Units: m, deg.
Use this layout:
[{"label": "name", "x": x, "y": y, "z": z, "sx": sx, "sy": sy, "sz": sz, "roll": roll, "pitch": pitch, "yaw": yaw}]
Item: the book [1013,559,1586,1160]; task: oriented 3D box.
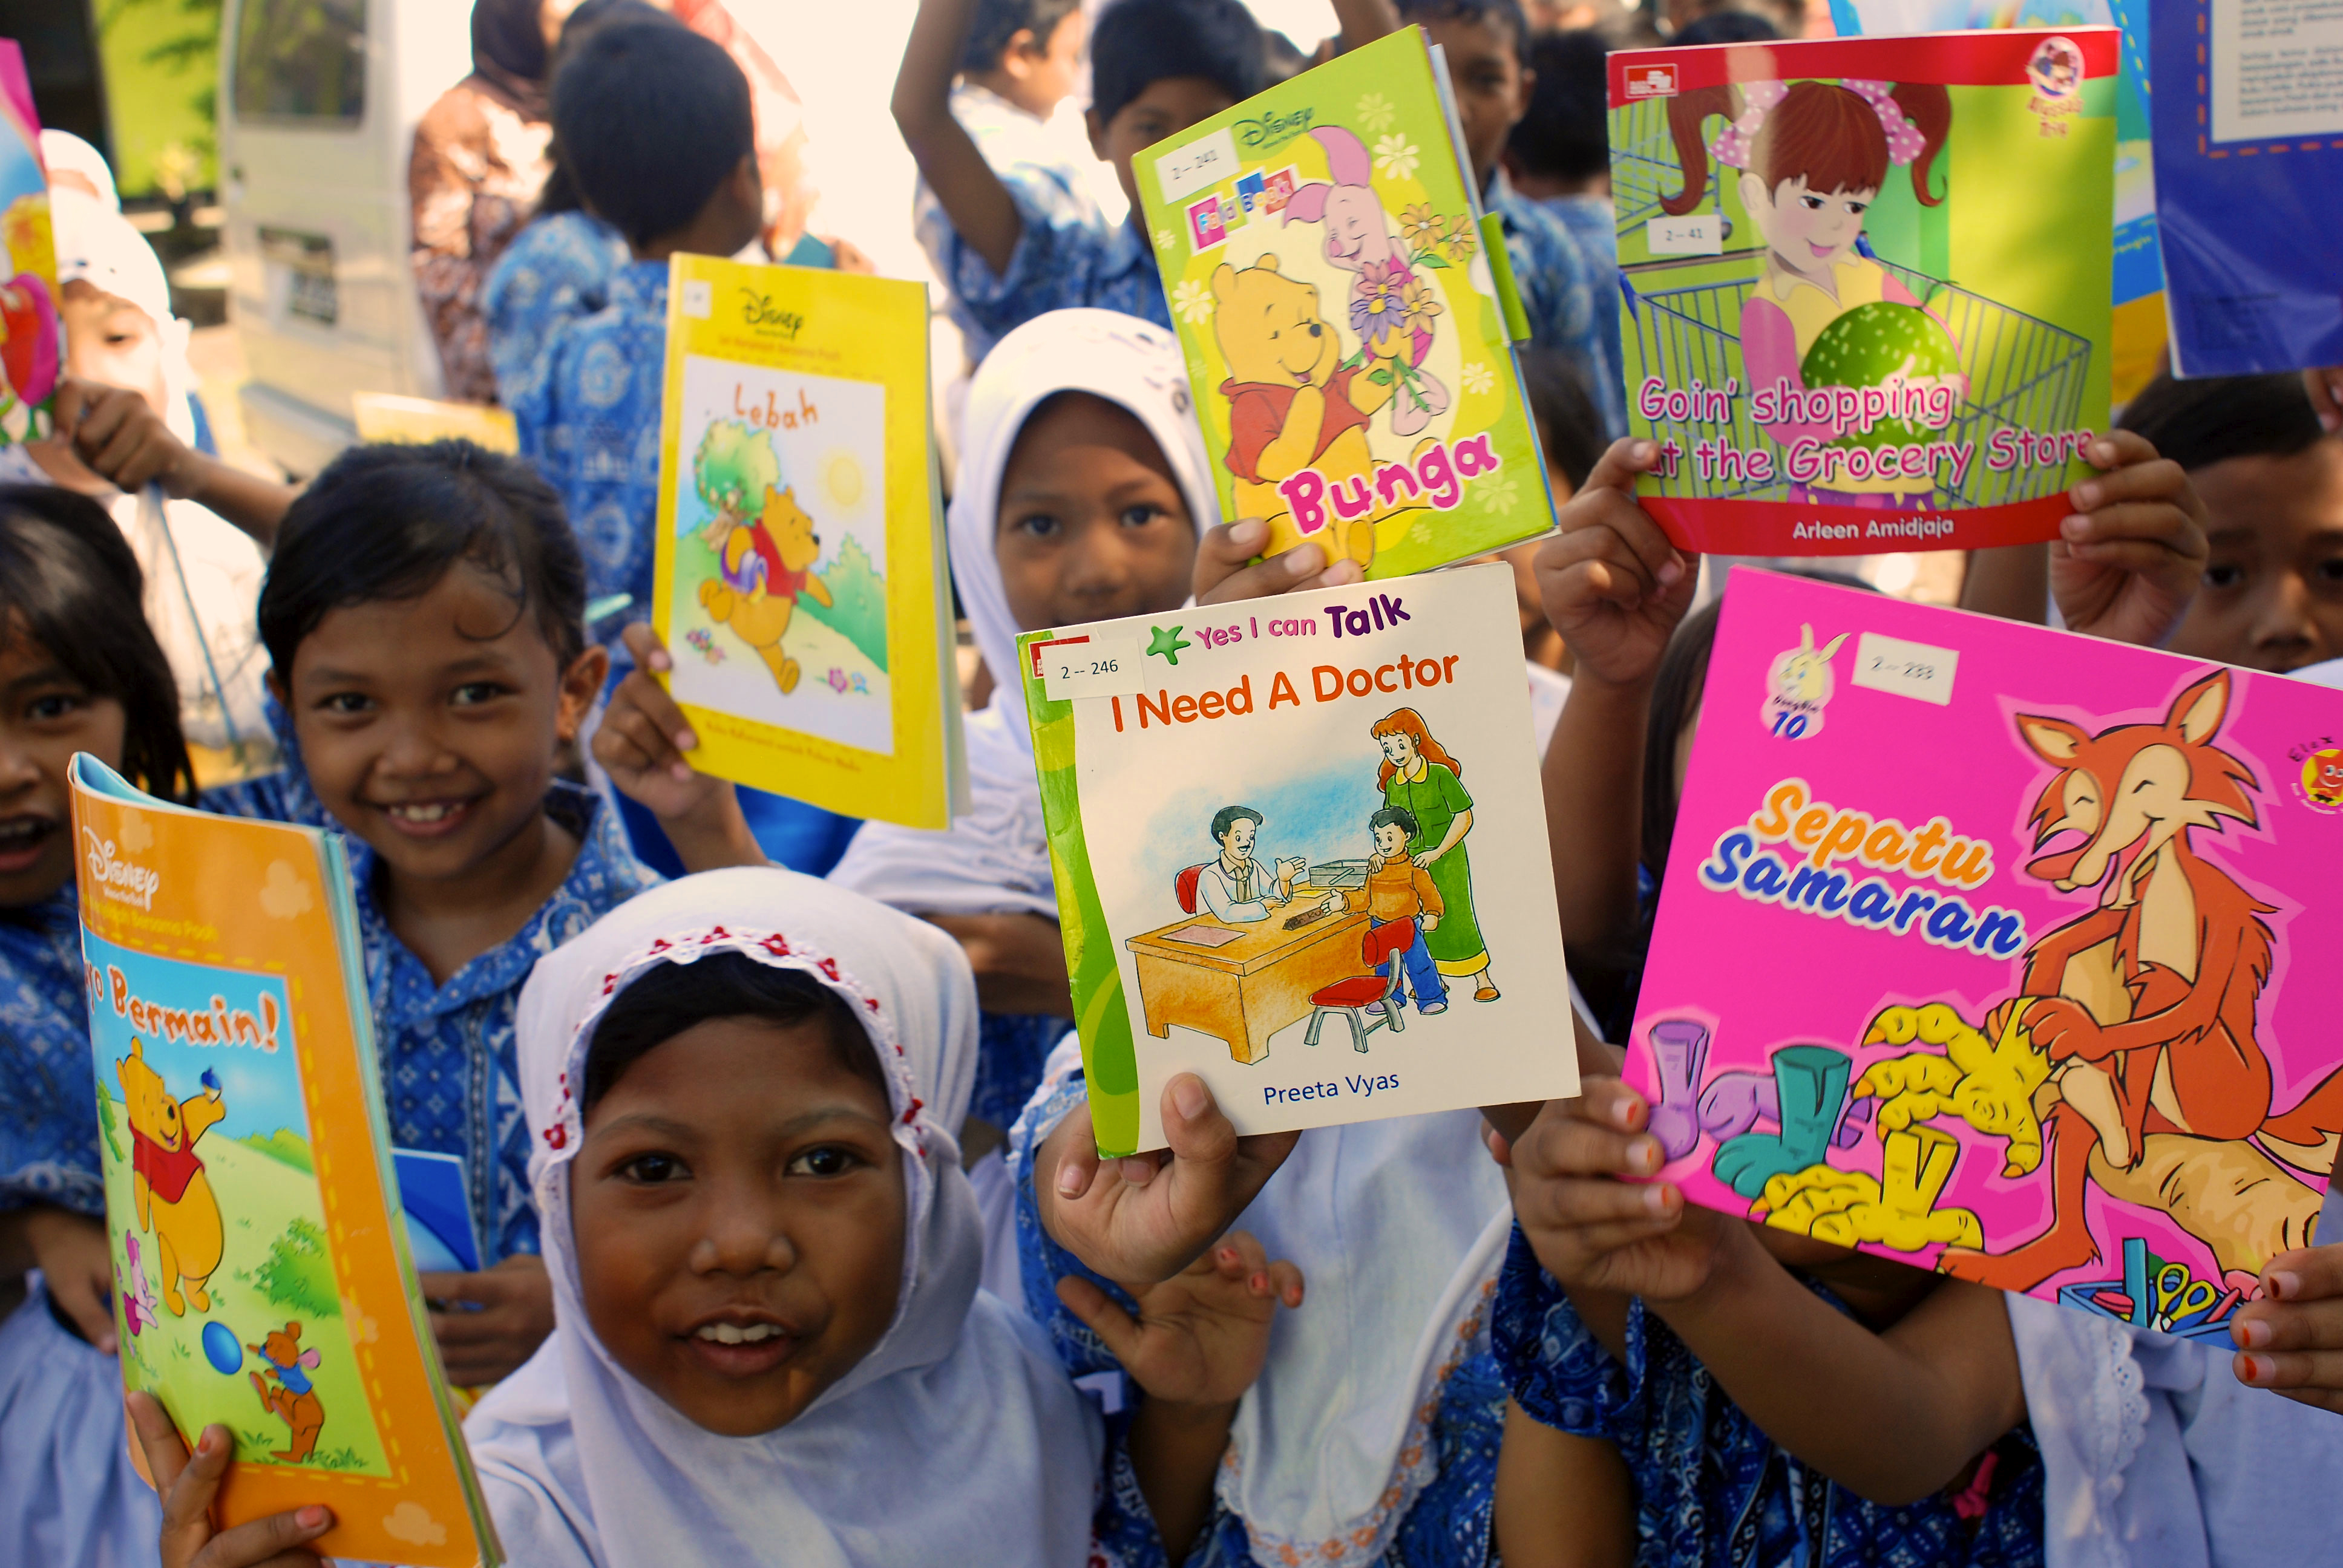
[{"label": "book", "x": 0.171, "y": 0.101, "z": 2.431, "sx": 0.756, "sy": 0.764, "sz": 0.070, "roll": -11, "pitch": -2, "yaw": 2}]

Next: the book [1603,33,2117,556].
[{"label": "book", "x": 0.878, "y": -0.619, "z": 2.545, "sx": 0.692, "sy": 0.657, "sz": 0.074, "roll": -1, "pitch": 14, "yaw": 9}]
